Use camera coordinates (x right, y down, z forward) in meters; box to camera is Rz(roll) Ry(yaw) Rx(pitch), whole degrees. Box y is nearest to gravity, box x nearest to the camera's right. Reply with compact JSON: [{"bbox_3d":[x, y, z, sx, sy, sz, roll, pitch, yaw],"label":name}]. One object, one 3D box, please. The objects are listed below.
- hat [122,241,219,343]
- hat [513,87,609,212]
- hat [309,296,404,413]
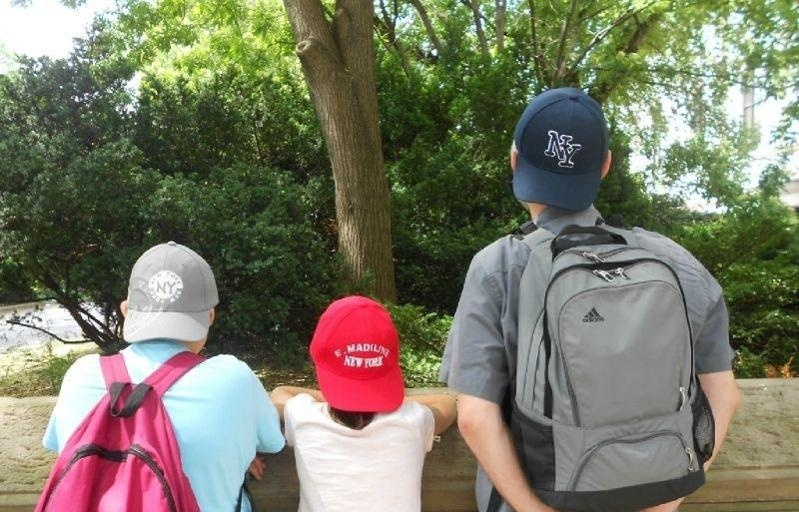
[{"bbox_3d":[-2.208,0.291,6.741,0.876,0.717,1.260,3,21,-8],"label":"hat"},{"bbox_3d":[1.471,-1.046,6.366,0.836,1.240,0.684,13,-40,5],"label":"hat"},{"bbox_3d":[-0.358,0.860,6.671,0.879,0.659,1.261,2,27,-20],"label":"hat"}]
